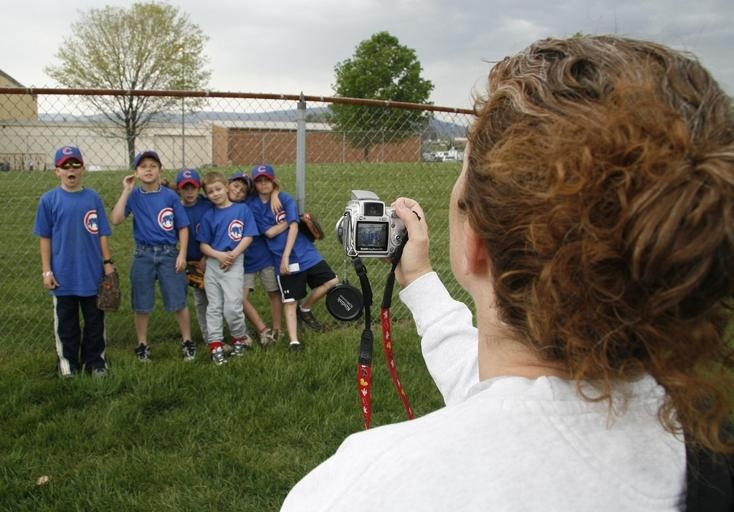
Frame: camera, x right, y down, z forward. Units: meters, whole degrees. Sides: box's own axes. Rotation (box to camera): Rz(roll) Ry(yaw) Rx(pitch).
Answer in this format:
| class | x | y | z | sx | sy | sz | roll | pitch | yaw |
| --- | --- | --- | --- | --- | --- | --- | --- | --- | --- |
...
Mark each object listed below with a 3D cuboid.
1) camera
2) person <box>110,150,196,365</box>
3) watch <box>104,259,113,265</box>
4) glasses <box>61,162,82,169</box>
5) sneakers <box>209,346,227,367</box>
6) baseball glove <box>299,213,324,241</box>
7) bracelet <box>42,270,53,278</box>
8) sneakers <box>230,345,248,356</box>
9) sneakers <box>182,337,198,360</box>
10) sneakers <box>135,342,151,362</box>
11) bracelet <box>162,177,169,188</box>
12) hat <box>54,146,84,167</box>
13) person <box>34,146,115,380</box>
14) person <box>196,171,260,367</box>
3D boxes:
| class | x | y | z | sx | sy | sz | roll | pitch | yaw |
| --- | --- | --- | --- | --- | --- | --- | --- | --- | --- |
| camera | -0.049 | -0.113 | 2.828 | 0.363 | 0.223 | 0.354 | -2 | 0 | 21 |
| person | -1.714 | -0.021 | 5.808 | 0.593 | 1.644 | 0.697 | -6 | 9 | -14 |
| watch | -1.957 | 0.035 | 5.444 | 0.047 | 0.032 | 0.050 | -5 | -10 | 16 |
| glasses | -2.141 | -0.668 | 5.227 | 0.089 | 0.063 | 0.141 | 1 | -2 | -13 |
| sneakers | -1.138 | 0.761 | 5.538 | 0.080 | 0.097 | 0.231 | -12 | 0 | -20 |
| baseball glove | -0.482 | -0.241 | 6.305 | 0.087 | 0.234 | 0.187 | -26 | 19 | -1 |
| bracelet | -2.248 | 0.117 | 5.095 | 0.027 | 0.040 | 0.072 | 1 | 9 | 29 |
| sneakers | -1.036 | 0.759 | 5.785 | 0.067 | 0.083 | 0.197 | 0 | -10 | -5 |
| sneakers | -1.409 | 0.743 | 5.750 | 0.078 | 0.098 | 0.232 | 2 | -5 | -20 |
| sneakers | -1.751 | 0.749 | 5.658 | 0.082 | 0.096 | 0.241 | 2 | -8 | -20 |
| bracelet | -1.706 | -0.625 | 6.107 | 0.021 | 0.066 | 0.049 | 10 | -39 | -40 |
| hat | -2.206 | -0.739 | 5.313 | 0.147 | 0.103 | 0.205 | -3 | 8 | -24 |
| person | -2.079 | 0.021 | 5.242 | 0.561 | 1.622 | 0.540 | -11 | 11 | -41 |
| person | -1.168 | 0.044 | 5.903 | 0.483 | 1.443 | 0.796 | -3 | 8 | 4 |
